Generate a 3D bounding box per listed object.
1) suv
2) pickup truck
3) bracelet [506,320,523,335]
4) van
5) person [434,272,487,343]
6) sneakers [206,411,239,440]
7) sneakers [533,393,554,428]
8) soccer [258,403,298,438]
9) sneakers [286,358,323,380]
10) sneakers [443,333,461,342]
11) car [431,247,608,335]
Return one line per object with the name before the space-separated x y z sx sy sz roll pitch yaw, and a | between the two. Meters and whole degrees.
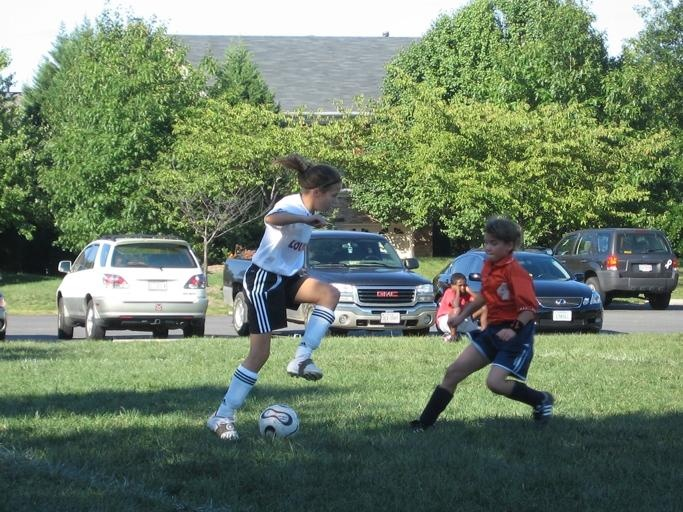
suv | -3.956 0.502 16.607 1.566 1.263 2.850 1 2 -22
pickup truck | 0.002 0.534 16.890 1.818 1.351 3.556 0 -2 -25
bracelet | 1.556 0.635 8.179 0.086 0.123 0.117 12 -20 -28
van | 6.885 0.042 24.179 2.086 1.801 3.905 -1 7 -14
person | 2.016 0.872 15.289 0.964 1.223 0.870 -6 -4 42
sneakers | -1.087 1.546 8.305 0.137 0.147 0.345 -2 10 -37
sneakers | 1.870 1.413 8.428 0.156 0.366 0.128 2 0 -11
soccer | -0.557 1.535 8.438 0.361 0.379 0.375 6 -3 -3
sneakers | -0.332 1.045 8.265 0.326 0.169 0.163 12 -39 12
sneakers | 1.782 1.319 14.719 0.147 0.140 0.284 2 -6 -21
car | 3.465 0.678 17.704 1.434 1.172 3.199 2 -2 -21
